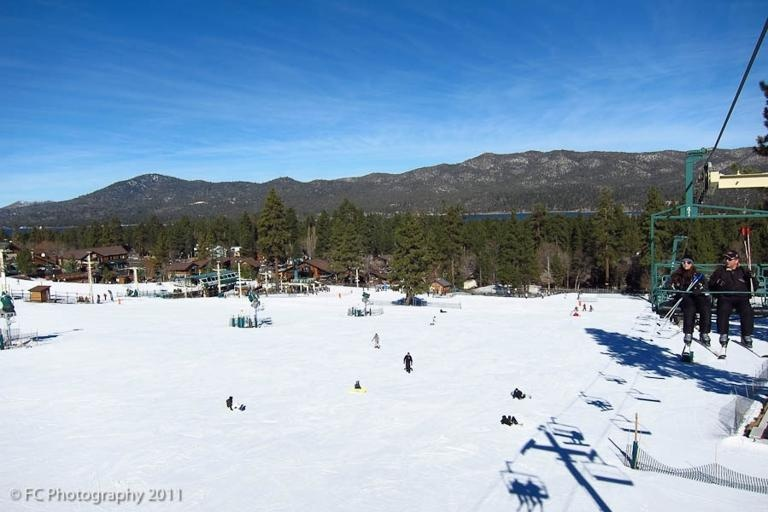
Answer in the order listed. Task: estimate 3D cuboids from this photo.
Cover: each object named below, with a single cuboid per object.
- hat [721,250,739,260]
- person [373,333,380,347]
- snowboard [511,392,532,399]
[{"bbox_3d":[15.010,-0.036,26.267,0.540,0.412,0.580,6,14,26],"label":"hat"},{"bbox_3d":[-0.486,6.103,44.041,0.451,1.029,1.162,-1,13,-3],"label":"person"},{"bbox_3d":[7.696,7.877,33.941,0.693,0.265,0.572,0,-5,2],"label":"snowboard"}]
